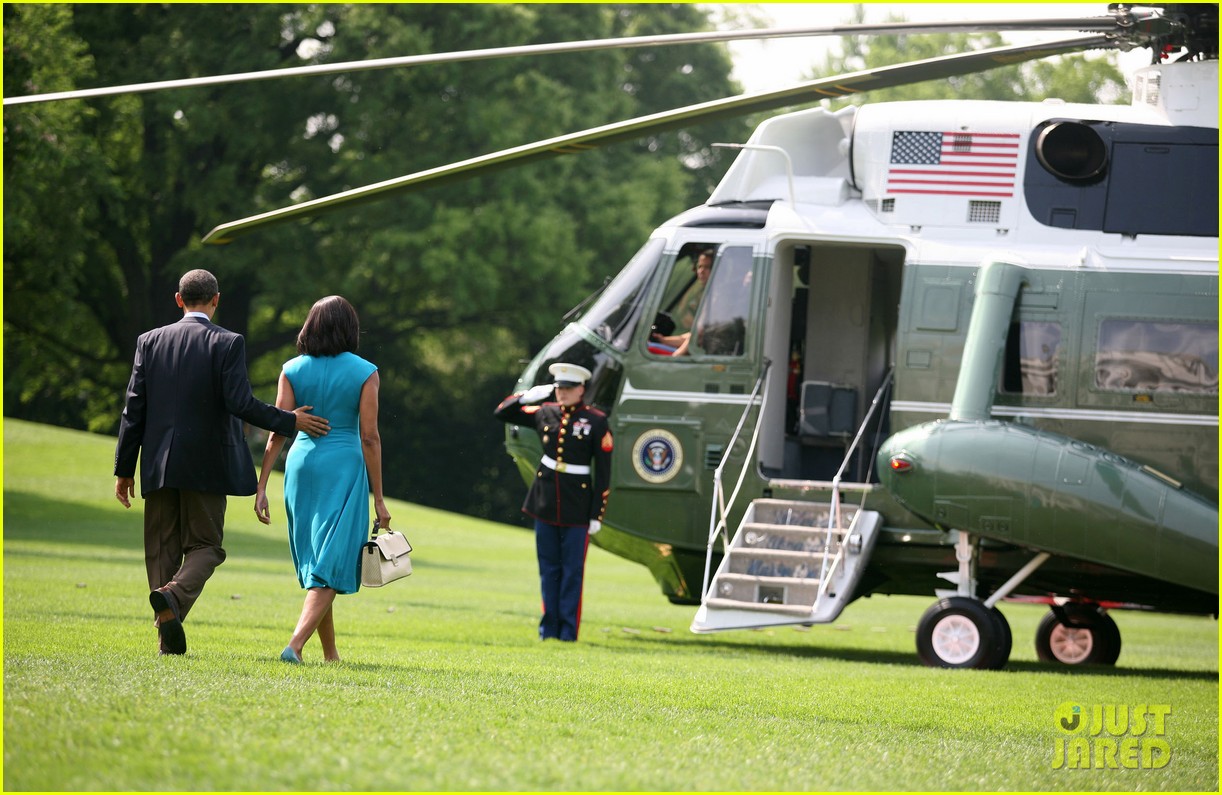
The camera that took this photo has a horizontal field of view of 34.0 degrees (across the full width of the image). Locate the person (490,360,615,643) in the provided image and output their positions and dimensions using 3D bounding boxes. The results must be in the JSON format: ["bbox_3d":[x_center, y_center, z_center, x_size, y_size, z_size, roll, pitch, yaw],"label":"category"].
[{"bbox_3d":[-0.595,1.061,20.305,1.064,2.721,0.941,1,0,14],"label":"person"}]

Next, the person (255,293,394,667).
[{"bbox_3d":[-2.905,0.768,18.250,1.250,3.252,1.375,1,0,34],"label":"person"}]

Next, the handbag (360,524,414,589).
[{"bbox_3d":[-2.223,1.418,18.332,0.278,0.531,0.599,-1,4,18],"label":"handbag"}]

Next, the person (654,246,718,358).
[{"bbox_3d":[0.804,-0.889,21.165,0.836,1.222,0.536,5,-11,-6],"label":"person"}]
